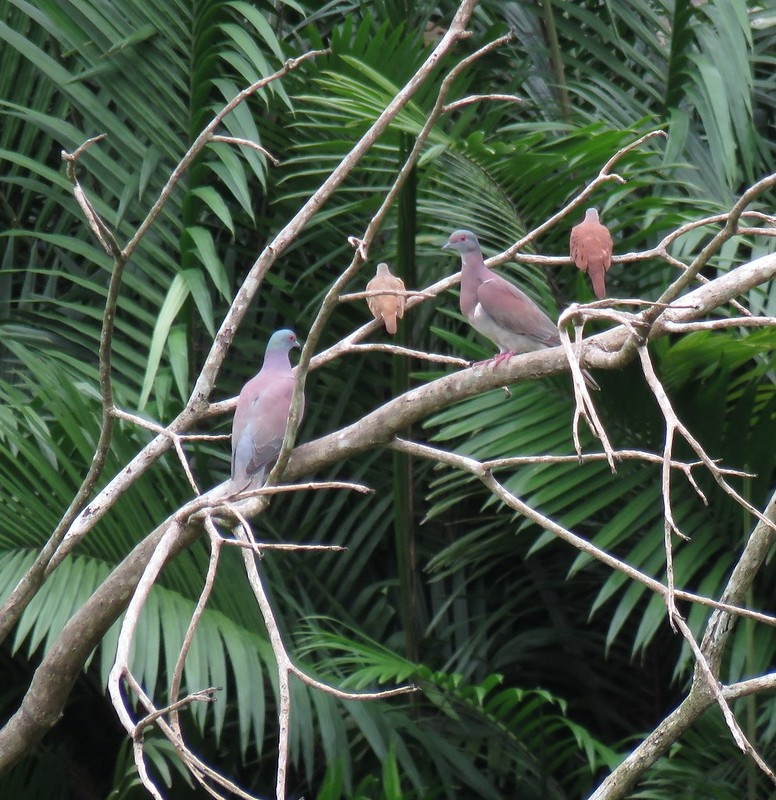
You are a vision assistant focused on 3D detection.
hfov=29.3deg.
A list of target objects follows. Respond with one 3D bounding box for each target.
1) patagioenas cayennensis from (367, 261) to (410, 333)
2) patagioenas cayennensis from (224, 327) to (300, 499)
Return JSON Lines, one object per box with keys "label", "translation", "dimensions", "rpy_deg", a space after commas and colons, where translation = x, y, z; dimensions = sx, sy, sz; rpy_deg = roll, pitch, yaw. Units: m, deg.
{"label": "patagioenas cayennensis", "translation": [-0.007, -0.314, 4.279], "dimensions": [0.096, 0.218, 0.132], "rpy_deg": [-3, -30, -2]}
{"label": "patagioenas cayennensis", "translation": [-0.370, 0.020, 4.451], "dimensions": [0.177, 0.375, 0.501], "rpy_deg": [-5, 14, 17]}
